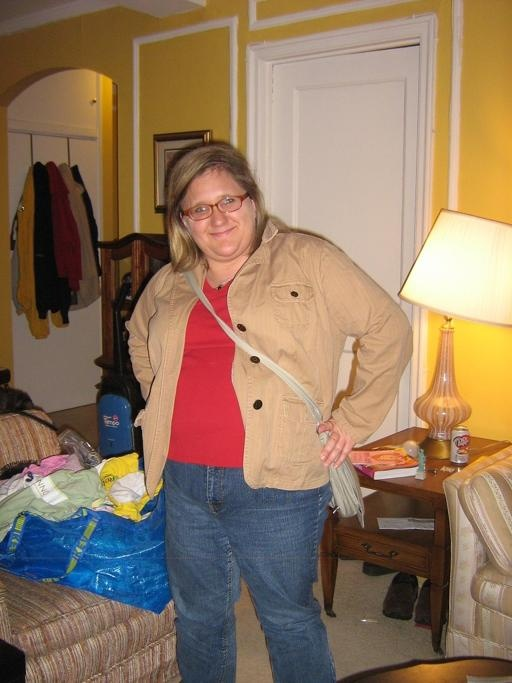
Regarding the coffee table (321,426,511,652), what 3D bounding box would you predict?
[{"bbox_3d":[0.570,0.627,2.253,0.622,0.662,0.823,17,22,41],"label":"coffee table"}]
